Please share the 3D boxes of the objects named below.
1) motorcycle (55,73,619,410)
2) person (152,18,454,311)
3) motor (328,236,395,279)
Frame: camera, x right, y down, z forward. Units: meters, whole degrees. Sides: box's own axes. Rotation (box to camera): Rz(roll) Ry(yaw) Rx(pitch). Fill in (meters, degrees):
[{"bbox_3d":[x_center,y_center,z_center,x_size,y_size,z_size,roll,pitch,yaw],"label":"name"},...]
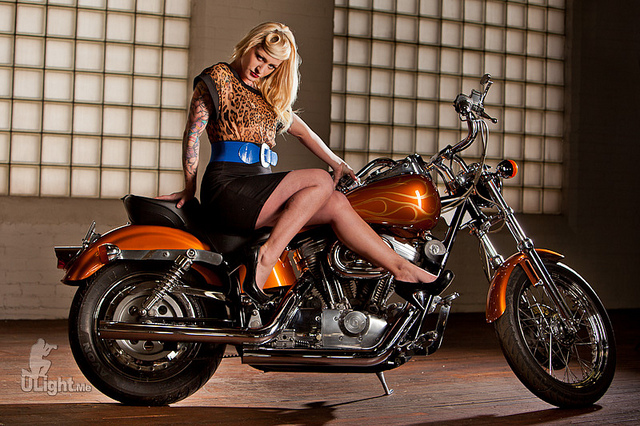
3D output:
[{"bbox_3d":[0.153,0.228,3.505,2.986,1.820,1.029,0,-5,2],"label":"motorcycle"},{"bbox_3d":[-0.072,-0.270,3.338,1.717,1.481,0.577,9,7,20],"label":"person"},{"bbox_3d":[0.194,0.254,3.167,0.253,0.200,0.104,6,7,-4],"label":"motor"}]
